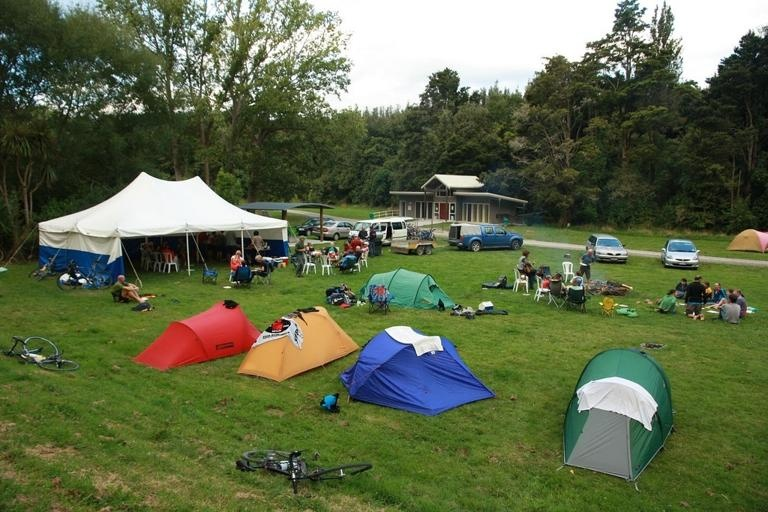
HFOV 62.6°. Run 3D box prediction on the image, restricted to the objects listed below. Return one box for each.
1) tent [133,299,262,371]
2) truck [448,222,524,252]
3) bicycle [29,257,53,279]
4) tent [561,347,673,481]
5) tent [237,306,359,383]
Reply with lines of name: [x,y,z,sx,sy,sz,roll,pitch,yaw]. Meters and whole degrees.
tent: [-6.445,2.921,22.218,3.437,1.263,2.175,-11,13,-41]
truck: [6.310,-1.206,41.383,3.834,1.428,2.069,-3,7,-18]
bicycle: [-16.720,0.661,30.175,1.271,0.807,0.639,6,18,-9]
tent: [7.298,4.843,19.497,2.599,2.182,3.944,10,28,33]
tent: [-3.049,3.098,21.786,2.108,1.432,3.246,6,14,34]
